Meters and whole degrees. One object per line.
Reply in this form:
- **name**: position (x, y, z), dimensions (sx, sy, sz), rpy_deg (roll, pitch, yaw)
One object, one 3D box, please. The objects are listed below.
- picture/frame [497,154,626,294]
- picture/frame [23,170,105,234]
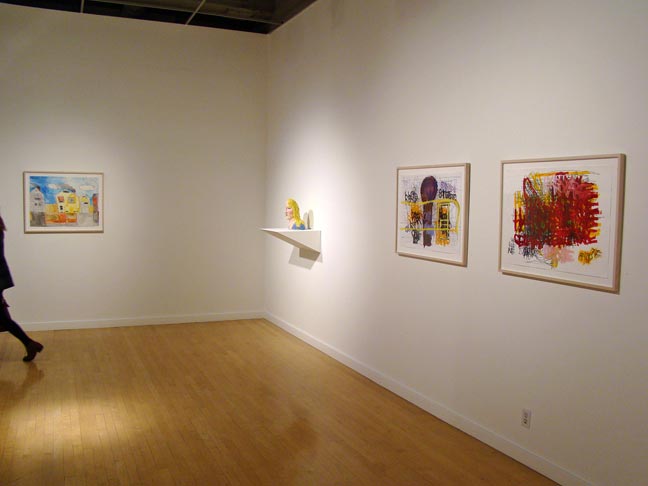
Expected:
- **picture/frame**: position (1.742, -0.144, 3.318), dimensions (0.040, 1.174, 0.983), rpy_deg (-1, 1, -31)
- **picture/frame**: position (-3.787, -0.593, 6.595), dimensions (0.797, 0.774, 0.033), rpy_deg (0, 3, -18)
